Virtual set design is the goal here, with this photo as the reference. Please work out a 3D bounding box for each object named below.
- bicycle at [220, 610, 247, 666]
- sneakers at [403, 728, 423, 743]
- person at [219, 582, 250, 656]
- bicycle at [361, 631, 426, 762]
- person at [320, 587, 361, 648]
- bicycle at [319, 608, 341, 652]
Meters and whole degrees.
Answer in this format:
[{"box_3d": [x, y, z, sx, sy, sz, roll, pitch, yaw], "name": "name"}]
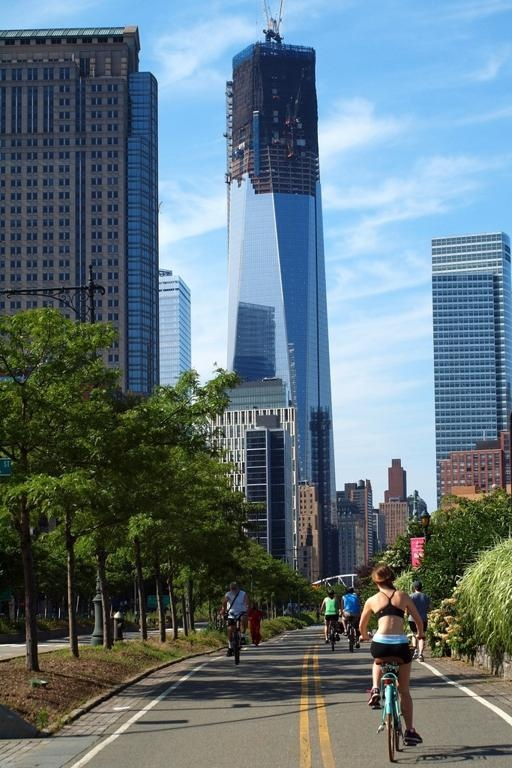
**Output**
[{"box_3d": [-0.399, 5.121, 24.676, 0.521, 0.856, 1.219, -2, -7, -1], "name": "bicycle"}, {"box_3d": [1.539, 3.472, 12.004, 0.154, 0.160, 0.177, -2, -7, 6], "name": "sneakers"}, {"box_3d": [-0.374, 4.721, 24.673, 0.623, 1.039, 1.510, -2, -13, 1], "name": "person"}, {"box_3d": [1.345, 3.036, 11.977, 0.420, 0.740, 1.057, -1, -3, 3], "name": "bicycle"}, {"box_3d": [2.163, 5.877, 30.625, 0.991, 1.624, 2.353, -1, -4, 3], "name": "person"}, {"box_3d": [1.972, 6.423, 32.162, 0.452, 0.712, 1.050, -1, -7, 1], "name": "bicycle"}]
